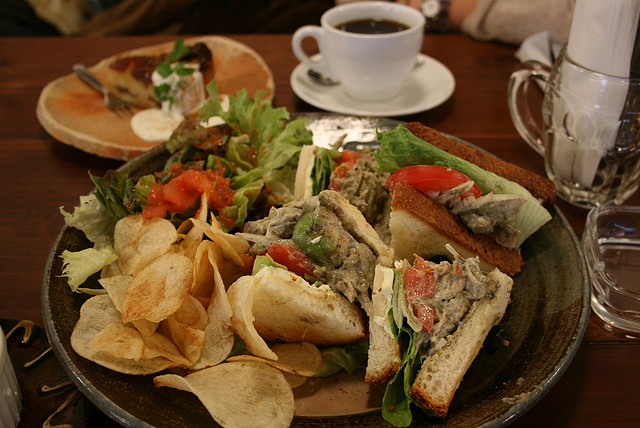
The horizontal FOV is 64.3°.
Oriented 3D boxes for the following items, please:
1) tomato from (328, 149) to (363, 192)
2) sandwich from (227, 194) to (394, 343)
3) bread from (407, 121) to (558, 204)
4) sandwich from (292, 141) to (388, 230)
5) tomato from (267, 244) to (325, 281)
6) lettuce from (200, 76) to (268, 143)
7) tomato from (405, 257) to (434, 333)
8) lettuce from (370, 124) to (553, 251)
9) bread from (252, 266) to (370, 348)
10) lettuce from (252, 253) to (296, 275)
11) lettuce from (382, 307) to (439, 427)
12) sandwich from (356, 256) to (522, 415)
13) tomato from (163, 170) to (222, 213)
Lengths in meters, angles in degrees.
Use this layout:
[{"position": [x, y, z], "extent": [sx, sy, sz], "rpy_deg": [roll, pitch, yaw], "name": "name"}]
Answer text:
[{"position": [0.117, -0.220, 2.424], "extent": [0.107, 0.095, 0.254], "rpy_deg": [22, 67, 8], "name": "tomato"}, {"position": [-0.028, 0.201, 1.990], "extent": [0.597, 0.236, 0.602], "rpy_deg": [-21, 74, -6], "name": "sandwich"}, {"position": [0.766, -0.231, 2.361], "extent": [0.755, 0.146, 0.170], "rpy_deg": [26, 86, 12], "name": "bread"}, {"position": [0.109, -0.133, 2.402], "extent": [0.408, 0.142, 0.405], "rpy_deg": [6, 52, 15], "name": "sandwich"}, {"position": [-0.107, 0.179, 1.998], "extent": [0.223, 0.055, 0.111], "rpy_deg": [34, 35, -8], "name": "tomato"}, {"position": [-0.417, -0.542, 2.685], "extent": [0.306, 0.282, 0.101], "rpy_deg": [-21, 61, -11], "name": "lettuce"}, {"position": [0.379, 0.289, 1.916], "extent": [0.125, 0.342, 0.039], "rpy_deg": [-14, 25, -10], "name": "tomato"}, {"position": [0.582, -0.094, 2.285], "extent": [0.687, 0.225, 0.491], "rpy_deg": [37, 22, 15], "name": "lettuce"}, {"position": [-0.047, 0.371, 1.959], "extent": [0.388, 0.131, 0.272], "rpy_deg": [24, 31, 3], "name": "bread"}, {"position": [-0.204, 0.185, 1.976], "extent": [0.097, 0.093, 0.038], "rpy_deg": [20, 97, -3], "name": "lettuce"}, {"position": [0.301, 0.583, 1.863], "extent": [0.189, 0.067, 0.342], "rpy_deg": [0, 63, 13], "name": "lettuce"}, {"position": [0.392, 0.435, 1.908], "extent": [0.555, 0.246, 0.556], "rpy_deg": [0, 63, -21], "name": "sandwich"}, {"position": [-0.577, -0.108, 2.266], "extent": [0.180, 0.091, 0.199], "rpy_deg": [17, 39, 28], "name": "tomato"}]
